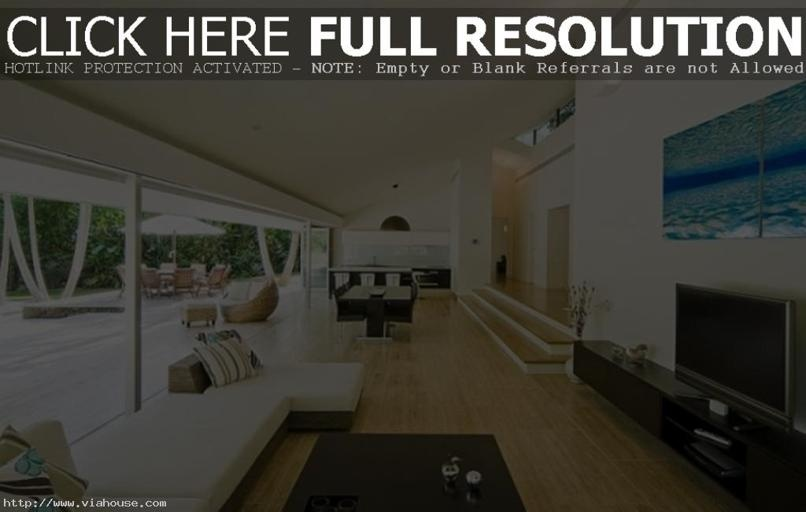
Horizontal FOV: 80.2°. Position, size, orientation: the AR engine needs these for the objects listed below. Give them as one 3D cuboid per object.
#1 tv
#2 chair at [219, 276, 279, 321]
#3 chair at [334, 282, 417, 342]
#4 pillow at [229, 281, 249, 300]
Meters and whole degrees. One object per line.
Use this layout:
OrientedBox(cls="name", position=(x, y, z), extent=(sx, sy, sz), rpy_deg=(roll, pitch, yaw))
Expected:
OrientedBox(cls="tv", position=(3.281, 1.008, 4.659), extent=(0.381, 1.328, 1.486), rpy_deg=(2, -2, -13))
OrientedBox(cls="chair", position=(-3.149, 0.910, 9.882), extent=(0.908, 0.832, 0.944), rpy_deg=(2, -6, -2))
OrientedBox(cls="chair", position=(-0.514, 0.965, 8.487), extent=(1.042, 0.540, 0.958), rpy_deg=(0, 6, 4))
OrientedBox(cls="pillow", position=(-3.371, 0.710, 9.794), extent=(0.383, 0.360, 0.117), rpy_deg=(-2, -12, 15))
